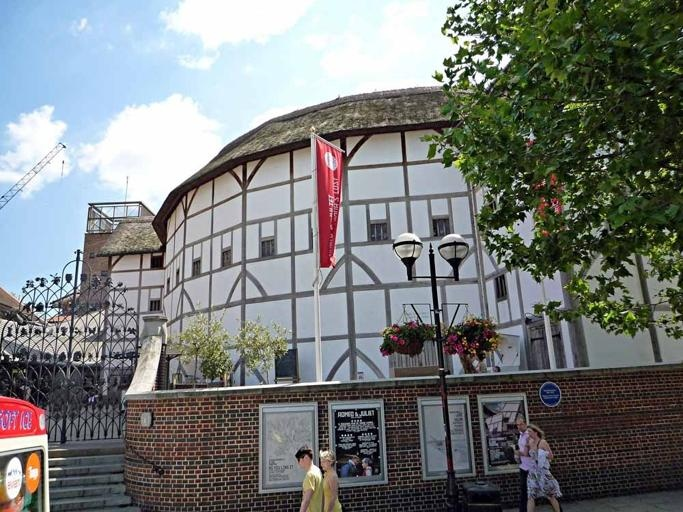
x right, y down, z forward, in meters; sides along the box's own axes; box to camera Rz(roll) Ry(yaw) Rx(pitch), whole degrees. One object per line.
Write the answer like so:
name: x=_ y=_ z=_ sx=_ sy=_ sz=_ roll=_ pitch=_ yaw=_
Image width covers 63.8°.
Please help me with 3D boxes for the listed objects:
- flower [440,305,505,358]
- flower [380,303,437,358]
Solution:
flower: x=3.017 y=1.736 z=12.652 sx=0.969 sy=1.031 sz=1.019 roll=-2 pitch=-12 yaw=17
flower: x=1.616 y=1.917 z=13.530 sx=1.094 sy=1.375 sz=1.209 roll=8 pitch=-18 yaw=-35
